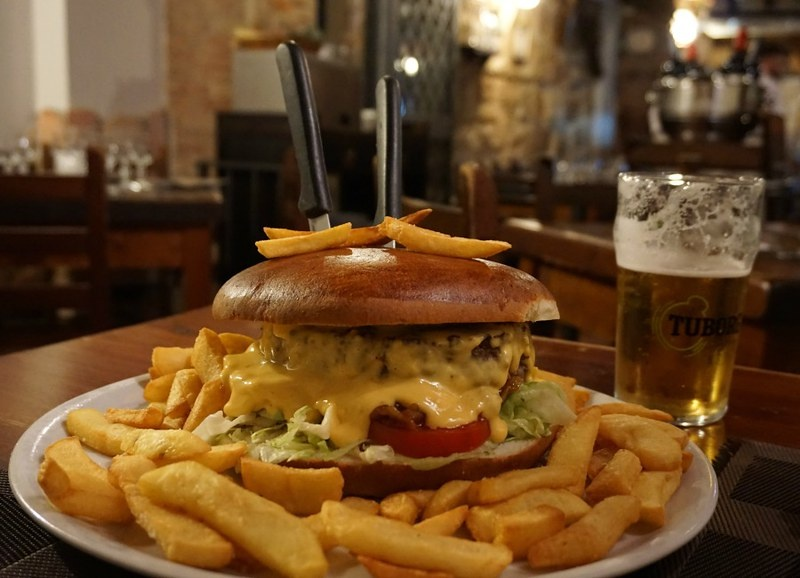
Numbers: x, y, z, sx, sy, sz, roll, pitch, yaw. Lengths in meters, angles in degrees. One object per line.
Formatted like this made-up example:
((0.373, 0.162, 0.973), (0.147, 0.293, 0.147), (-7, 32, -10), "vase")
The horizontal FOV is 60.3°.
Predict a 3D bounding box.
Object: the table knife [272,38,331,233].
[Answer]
((-0.215, -0.326, 1.545), (0.091, 0.492, 0.043), (-7, 5, 10), "table knife")

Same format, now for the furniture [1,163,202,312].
((-1.808, -0.479, 4.422), (1.341, 0.607, 0.892), (0, 2, -6), "furniture")

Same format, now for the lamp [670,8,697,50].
((3.203, -2.928, 7.748), (0.272, 0.463, 0.463), (4, 14, 21), "lamp")
